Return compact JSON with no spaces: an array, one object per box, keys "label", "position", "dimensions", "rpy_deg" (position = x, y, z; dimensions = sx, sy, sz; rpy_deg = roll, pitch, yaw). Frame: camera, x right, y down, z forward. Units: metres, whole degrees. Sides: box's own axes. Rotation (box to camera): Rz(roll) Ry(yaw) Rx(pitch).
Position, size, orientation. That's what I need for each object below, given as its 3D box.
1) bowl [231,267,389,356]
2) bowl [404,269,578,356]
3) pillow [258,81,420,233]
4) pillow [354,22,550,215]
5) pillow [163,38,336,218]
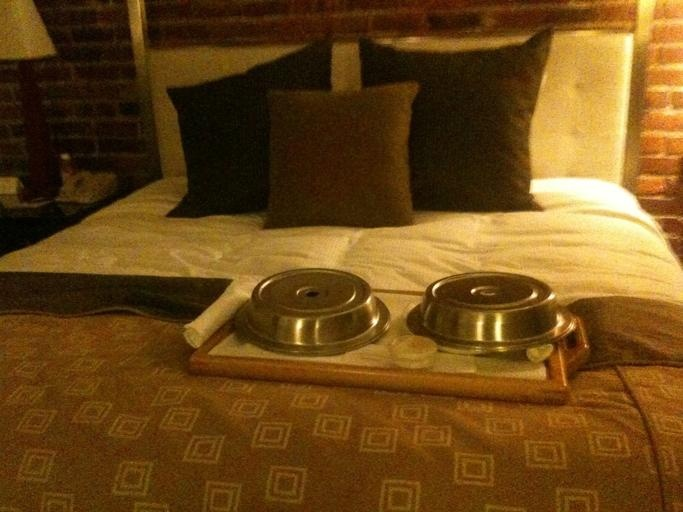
[{"label":"bowl","position":[-0.060,0.093,1.056],"dimensions":[0.300,0.058,0.266],"rpy_deg":[3,30,1]},{"label":"bowl","position":[0.290,0.091,1.031],"dimensions":[0.312,0.065,0.284],"rpy_deg":[-5,18,2]},{"label":"pillow","position":[0.004,-0.338,1.873],"dimensions":[0.609,0.486,0.211],"rpy_deg":[5,11,27]},{"label":"pillow","position":[0.356,-0.494,1.990],"dimensions":[0.827,0.640,0.279],"rpy_deg":[0,17,-2]},{"label":"pillow","position":[-0.323,-0.497,2.146],"dimensions":[0.784,0.630,0.289],"rpy_deg":[-7,0,21]}]
